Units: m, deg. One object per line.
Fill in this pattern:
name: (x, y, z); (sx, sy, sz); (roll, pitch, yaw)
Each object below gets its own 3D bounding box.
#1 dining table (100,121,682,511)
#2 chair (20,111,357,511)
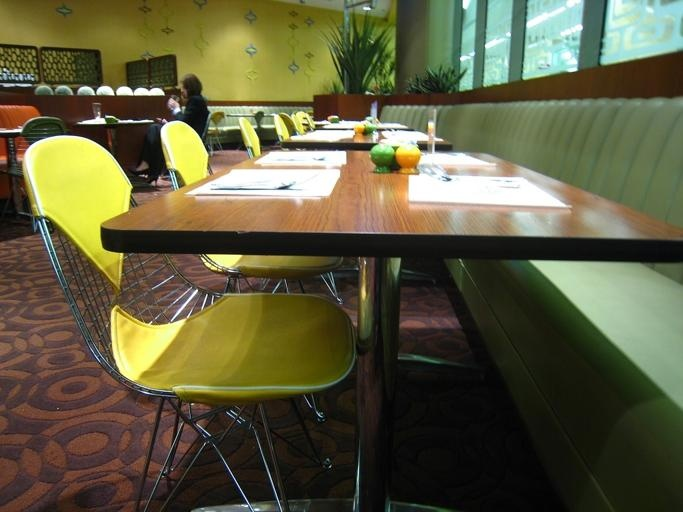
dining table: (0.094, -0.046, 1.302); (0.872, 0.853, 0.891); (-1, 24, -3)
chair: (-0.401, 0.002, 1.679); (1.073, 1.430, 0.845); (3, 24, 3)
